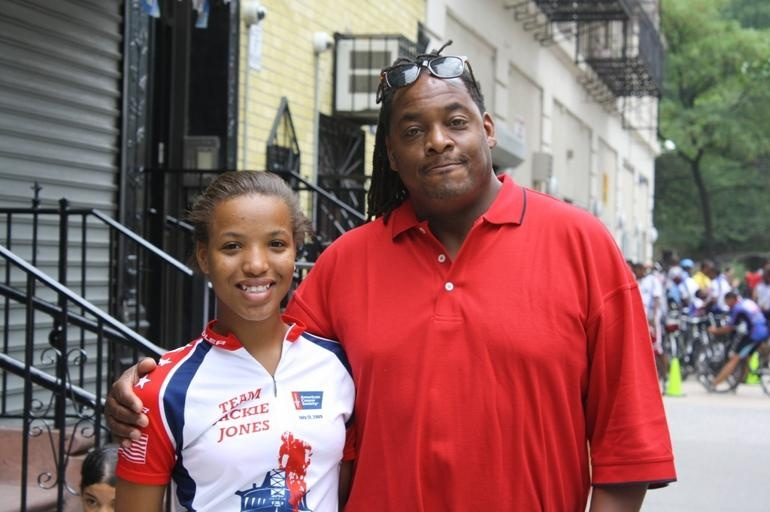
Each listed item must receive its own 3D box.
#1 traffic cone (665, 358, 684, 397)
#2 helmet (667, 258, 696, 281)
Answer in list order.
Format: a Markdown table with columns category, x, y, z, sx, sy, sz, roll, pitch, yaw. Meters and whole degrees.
| category | x | y | z | sx | sy | sz | roll | pitch | yaw |
| --- | --- | --- | --- | --- | --- | --- | --- | --- | --- |
| traffic cone | 3.602 | 1.542 | 11.483 | 0.354 | 0.478 | 0.355 | -2 | 6 | 19 |
| helmet | 2.054 | 0.094 | 6.409 | 0.099 | 0.137 | 0.138 | -4 | -33 | 10 |
